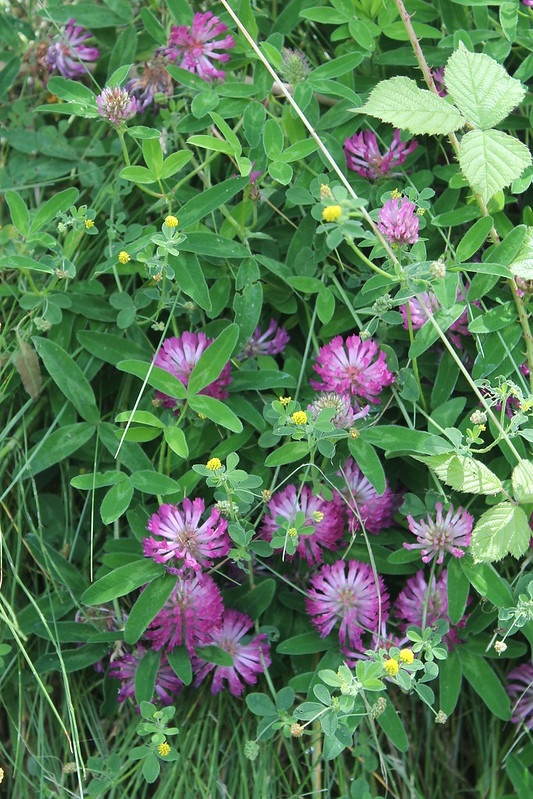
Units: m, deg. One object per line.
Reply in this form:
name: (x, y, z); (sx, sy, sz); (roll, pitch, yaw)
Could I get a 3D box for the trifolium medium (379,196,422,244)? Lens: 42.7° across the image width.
trifolium medium: (0.162, -0.210, 0.827); (0.053, 0.044, 0.053); (-2, 90, 4)

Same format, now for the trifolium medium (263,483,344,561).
trifolium medium: (0.053, 0.154, 0.940); (0.104, 0.047, 0.104); (-17, 89, 8)

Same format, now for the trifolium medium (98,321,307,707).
trifolium medium: (-0.061, 0.146, 0.941); (0.272, 0.184, 0.448); (4, 85, 14)

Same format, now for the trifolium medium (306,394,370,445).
trifolium medium: (0.087, 0.026, 0.861); (0.059, 0.054, 0.035); (1, 108, -24)

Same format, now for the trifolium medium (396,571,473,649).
trifolium medium: (0.222, 0.263, 0.905); (0.091, 0.047, 0.100); (26, 87, 7)

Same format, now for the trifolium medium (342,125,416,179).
trifolium medium: (0.166, -0.359, 1.003); (0.087, 0.053, 0.073); (-42, 55, -15)

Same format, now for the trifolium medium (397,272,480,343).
trifolium medium: (0.231, -0.114, 0.898); (0.080, 0.042, 0.074); (-11, 68, 23)
